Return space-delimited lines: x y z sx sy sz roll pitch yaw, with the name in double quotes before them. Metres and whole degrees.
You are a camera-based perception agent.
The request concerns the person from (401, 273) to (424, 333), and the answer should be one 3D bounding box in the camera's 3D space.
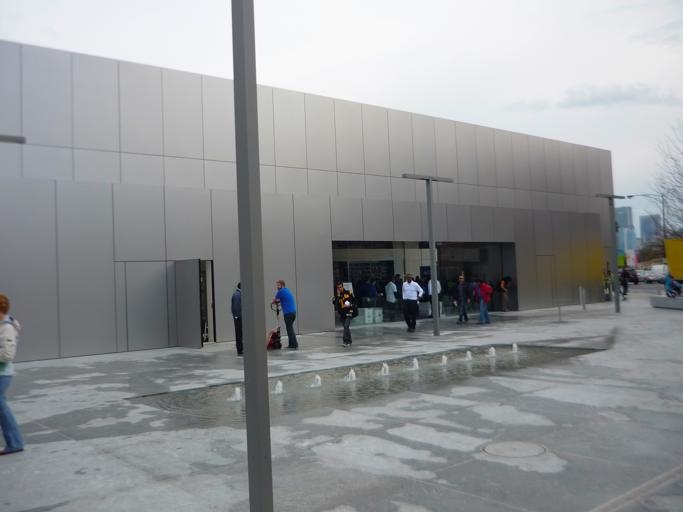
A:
"person" 3.251 2.180 22.829 0.859 2.501 1.012 -5 -1 8
